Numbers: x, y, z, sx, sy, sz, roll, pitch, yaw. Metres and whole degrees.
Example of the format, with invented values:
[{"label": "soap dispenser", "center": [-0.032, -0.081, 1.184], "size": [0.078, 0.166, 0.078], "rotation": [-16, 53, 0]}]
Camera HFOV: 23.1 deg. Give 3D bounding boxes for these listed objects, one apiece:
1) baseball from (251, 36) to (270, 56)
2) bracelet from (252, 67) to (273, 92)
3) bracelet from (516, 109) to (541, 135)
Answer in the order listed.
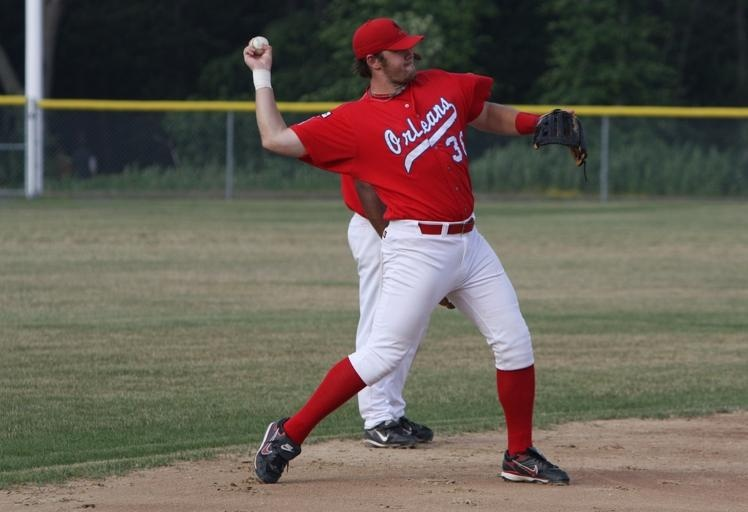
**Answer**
[{"label": "baseball", "center": [-1.390, -2.558, 22.160], "size": [0.198, 0.235, 0.111], "rotation": [-3, 13, -19]}, {"label": "bracelet", "center": [-1.344, -2.148, 22.228], "size": [0.232, 0.256, 0.232], "rotation": [1, -8, -5]}, {"label": "bracelet", "center": [1.881, -1.642, 22.383], "size": [0.305, 0.282, 0.237], "rotation": [-2, 7, -28]}]
